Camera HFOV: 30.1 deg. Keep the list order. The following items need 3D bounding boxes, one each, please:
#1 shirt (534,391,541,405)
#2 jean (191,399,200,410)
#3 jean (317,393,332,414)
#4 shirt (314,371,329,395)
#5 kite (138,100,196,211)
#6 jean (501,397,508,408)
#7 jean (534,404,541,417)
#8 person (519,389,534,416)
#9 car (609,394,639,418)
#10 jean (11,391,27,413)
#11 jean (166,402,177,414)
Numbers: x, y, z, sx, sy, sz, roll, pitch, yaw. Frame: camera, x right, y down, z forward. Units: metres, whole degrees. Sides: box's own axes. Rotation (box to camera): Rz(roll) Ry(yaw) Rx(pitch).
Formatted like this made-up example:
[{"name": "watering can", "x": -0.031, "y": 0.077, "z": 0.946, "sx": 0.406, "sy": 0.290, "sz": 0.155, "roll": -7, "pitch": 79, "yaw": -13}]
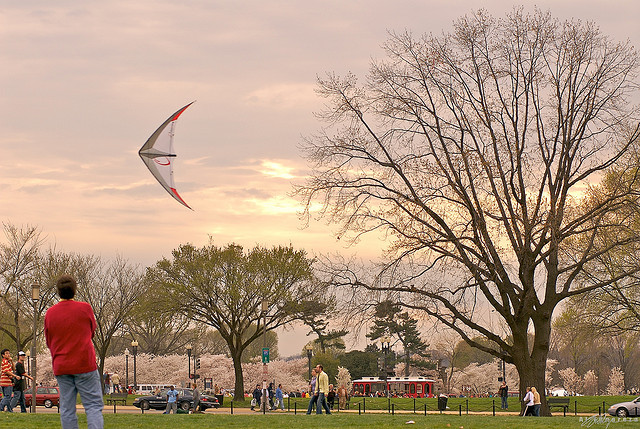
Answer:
[{"name": "shirt", "x": 16.270, "y": 13.576, "z": 88.263, "sx": 0.718, "sy": 1.018, "sz": 0.852, "roll": -2, "pitch": -3, "yaw": 5}, {"name": "jean", "x": -10.458, "y": 15.982, "z": 100.134, "sx": 0.476, "sy": 0.845, "sz": 1.065, "roll": 0, "pitch": -13, "yaw": -5}, {"name": "jean", "x": 0.254, "y": 13.988, "z": 87.871, "sx": 0.873, "sy": 1.451, "sz": 2.503, "roll": -1, "pitch": -13, "yaw": 2}, {"name": "shirt", "x": 0.053, "y": 12.439, "z": 87.601, "sx": 0.800, "sy": 1.588, "sz": 2.372, "roll": 1, "pitch": -13, "yaw": -7}, {"name": "kite", "x": -9.256, "y": -3.591, "z": 70.379, "sx": 2.859, "sy": 0.153, "sz": 7.966, "roll": 5, "pitch": -48, "yaw": -2}, {"name": "jean", "x": 15.886, "y": 16.137, "z": 102.417, "sx": 0.292, "sy": 0.933, "sz": 1.272, "roll": -5, "pitch": -14, "yaw": 17}, {"name": "jean", "x": 16.175, "y": 14.455, "z": 88.282, "sx": 0.560, "sy": 0.796, "sz": 0.354, "roll": 0, "pitch": -13, "yaw": -6}, {"name": "person", "x": 15.479, "y": 13.955, "z": 88.453, "sx": 0.767, "sy": 1.973, "sz": 1.421, "roll": -1, "pitch": -13, "yaw": 0}, {"name": "car", "x": 25.152, "y": 15.720, "z": 97.793, "sx": 3.993, "sy": 1.466, "sz": 1.825, "roll": 2, "pitch": -13, "yaw": 5}, {"name": "jean", "x": -21.130, "y": 13.088, "z": 83.362, "sx": 0.846, "sy": 1.500, "sz": 1.790, "roll": 1, "pitch": -13, "yaw": -8}, {"name": "jean", "x": -11.855, "y": 15.326, "z": 94.616, "sx": 0.727, "sy": 0.864, "sz": 1.389, "roll": -1, "pitch": -13, "yaw": 2}]
